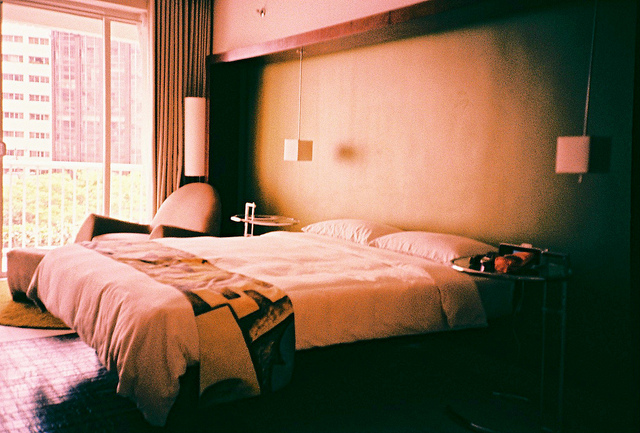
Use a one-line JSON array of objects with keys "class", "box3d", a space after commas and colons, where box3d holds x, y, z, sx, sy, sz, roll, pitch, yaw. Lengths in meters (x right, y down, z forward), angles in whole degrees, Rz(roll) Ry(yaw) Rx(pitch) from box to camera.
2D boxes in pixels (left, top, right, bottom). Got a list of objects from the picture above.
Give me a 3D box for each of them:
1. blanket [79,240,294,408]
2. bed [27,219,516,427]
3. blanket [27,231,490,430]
[{"class": "blanket", "box3d": [-0.720, 0.623, 3.093, 0.575, 0.558, 1.264, -10, 18, -39]}, {"class": "bed", "box3d": [-0.178, 0.522, 3.038, 1.971, 0.435, 1.708, -3, 5, -31]}, {"class": "blanket", "box3d": [-0.225, 0.491, 2.981, 1.733, 0.390, 1.695, 1, 1, -32]}]
